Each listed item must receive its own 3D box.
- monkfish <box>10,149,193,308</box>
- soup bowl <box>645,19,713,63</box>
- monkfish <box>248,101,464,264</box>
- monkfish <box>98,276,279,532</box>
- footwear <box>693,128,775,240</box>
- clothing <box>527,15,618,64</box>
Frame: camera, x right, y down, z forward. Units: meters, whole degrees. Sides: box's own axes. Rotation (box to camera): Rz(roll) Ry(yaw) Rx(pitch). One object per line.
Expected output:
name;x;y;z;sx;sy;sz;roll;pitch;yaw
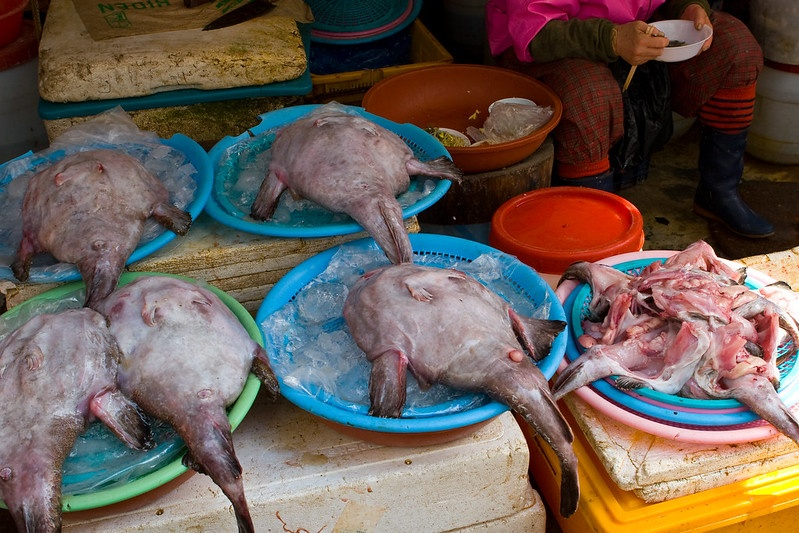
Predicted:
monkfish;-1.370;-0.238;3.215;0.638;0.190;0.762;-17;60;-8
soup bowl;1.797;-1.387;4.639;0.356;0.129;0.349;-6;51;8
monkfish;-0.239;-0.451;3.527;0.752;0.346;0.845;-20;44;-18
monkfish;-0.870;0.582;3.142;0.647;0.258;1.078;-16;68;-18
footwear;2.359;-0.553;5.160;0.556;0.751;0.245;33;70;30
clothing;1.073;-1.379;4.476;0.383;0.159;0.304;-2;30;-4
